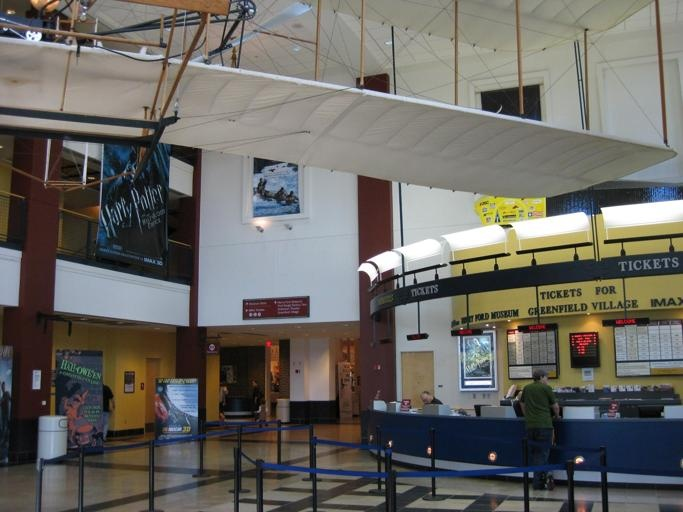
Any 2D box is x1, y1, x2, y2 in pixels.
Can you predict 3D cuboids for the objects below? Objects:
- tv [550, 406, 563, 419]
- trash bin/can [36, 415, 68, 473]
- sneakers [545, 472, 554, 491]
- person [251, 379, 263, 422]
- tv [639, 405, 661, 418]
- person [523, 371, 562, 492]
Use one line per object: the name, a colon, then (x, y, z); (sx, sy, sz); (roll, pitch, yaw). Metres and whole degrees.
tv: (3.614, 2.658, 11.561); (0.204, 0.103, 0.299); (0, -9, 3)
trash bin/can: (-6.623, 4.154, 15.695); (0.582, 0.908, 0.551); (1, -9, -22)
sneakers: (3.442, 3.722, 11.260); (0.124, 0.287, 0.195); (-5, -5, 28)
person: (-3.513, 6.129, 28.567); (0.617, 2.046, 0.887); (3, -15, -11)
tv: (6.022, 3.032, 13.299); (0.519, 0.207, 0.232); (1, -9, -24)
person: (3.307, 2.883, 11.314); (0.606, 1.978, 0.808); (-4, -8, 16)
